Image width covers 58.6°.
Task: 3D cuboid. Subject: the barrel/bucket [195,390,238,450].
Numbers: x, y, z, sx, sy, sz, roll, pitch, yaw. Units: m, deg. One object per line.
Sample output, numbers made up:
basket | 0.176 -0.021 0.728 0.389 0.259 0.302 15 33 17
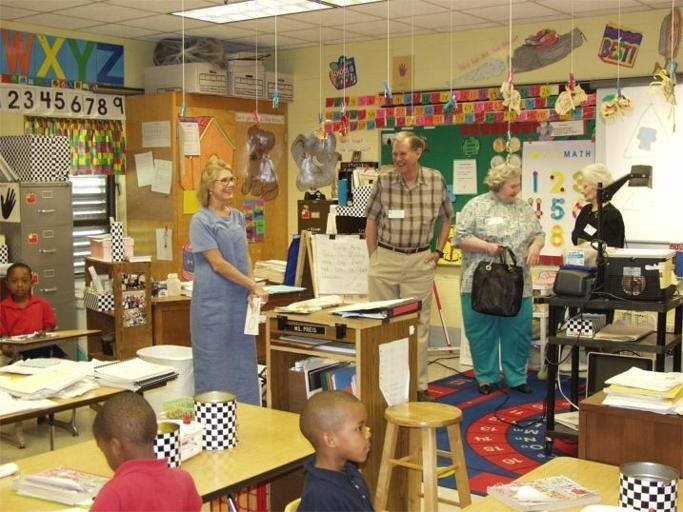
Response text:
barrel/bucket | -0.511 0.674 2.607 0.207 0.231 0.211 -1 1 0

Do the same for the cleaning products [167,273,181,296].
cleaning products | -1.627 0.288 6.060 0.161 0.202 0.189 0 -3 -1

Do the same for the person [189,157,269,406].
person | -0.797 0.206 4.171 0.490 1.711 0.432 -3 6 -16

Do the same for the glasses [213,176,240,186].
glasses | -0.789 -0.510 4.120 0.064 0.059 0.150 5 9 45

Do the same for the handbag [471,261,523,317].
handbag | 1.349 0.274 5.230 0.444 0.591 0.248 3 -2 16

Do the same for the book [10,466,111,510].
book | -0.997 0.817 2.169 0.187 0.046 0.189 5 7 15

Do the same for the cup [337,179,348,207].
cup | 0.013 -0.690 6.579 0.128 0.272 0.073 1 6 19

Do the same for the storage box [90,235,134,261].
storage box | -2.231 -0.079 5.879 0.283 0.178 0.362 0 1 -36

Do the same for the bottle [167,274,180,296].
bottle | -1.663 0.282 6.026 0.166 0.203 0.188 0 -2 15

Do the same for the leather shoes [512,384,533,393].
leather shoes | 1.717 1.247 5.718 0.202 0.083 0.076 -3 0 31

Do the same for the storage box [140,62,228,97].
storage box | -2.058 -2.296 7.937 0.705 0.283 0.524 3 5 29
